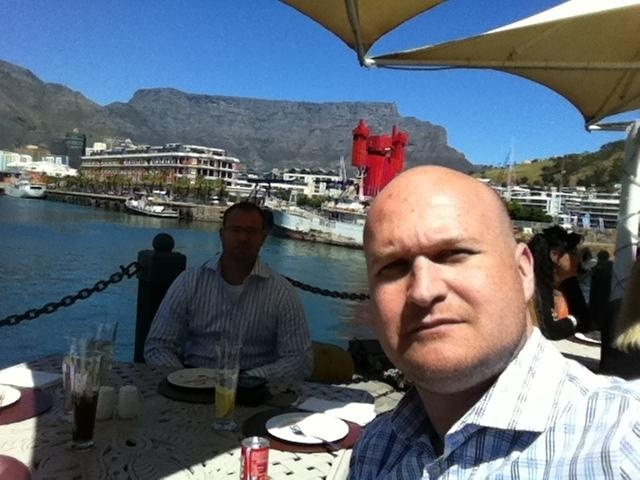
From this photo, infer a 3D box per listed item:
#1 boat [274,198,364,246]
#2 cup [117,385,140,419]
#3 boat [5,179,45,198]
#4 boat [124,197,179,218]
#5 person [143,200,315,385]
[{"bbox_3d":[-0.445,-1.760,48.984,14.113,4.423,3.652,12,3,36],"label":"boat"},{"bbox_3d":[-0.772,0.671,1.839,0.127,0.104,0.127,-4,-13,-1],"label":"cup"},{"bbox_3d":[-66.521,-11.238,102.121,9.177,4.629,3.839,3,-1,21],"label":"boat"},{"bbox_3d":[-26.200,-4.825,70.549,7.205,2.434,3.973,11,3,9],"label":"boat"},{"bbox_3d":[-0.576,0.363,3.009,1.182,1.171,0.840,5,6,-3],"label":"person"}]
